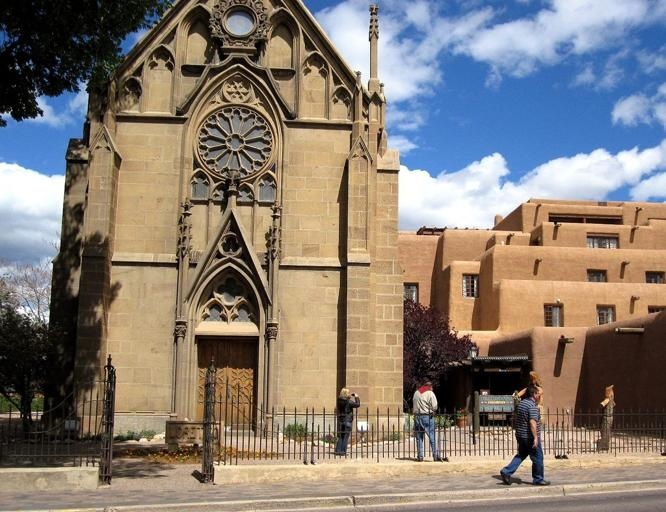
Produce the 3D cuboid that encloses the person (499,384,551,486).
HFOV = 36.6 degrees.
[{"bbox_3d":[5.377,4.917,27.707,1.145,2.787,1.348,-1,-12,11],"label":"person"}]

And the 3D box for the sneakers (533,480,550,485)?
[{"bbox_3d":[5.651,6.149,27.110,0.443,0.185,0.148,-2,-6,-1],"label":"sneakers"}]

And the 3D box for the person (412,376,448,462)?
[{"bbox_3d":[2.850,4.901,29.931,0.873,2.462,1.592,1,-12,4],"label":"person"}]

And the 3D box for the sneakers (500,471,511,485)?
[{"bbox_3d":[4.736,6.023,27.315,0.203,0.479,0.175,-17,9,-5],"label":"sneakers"}]
